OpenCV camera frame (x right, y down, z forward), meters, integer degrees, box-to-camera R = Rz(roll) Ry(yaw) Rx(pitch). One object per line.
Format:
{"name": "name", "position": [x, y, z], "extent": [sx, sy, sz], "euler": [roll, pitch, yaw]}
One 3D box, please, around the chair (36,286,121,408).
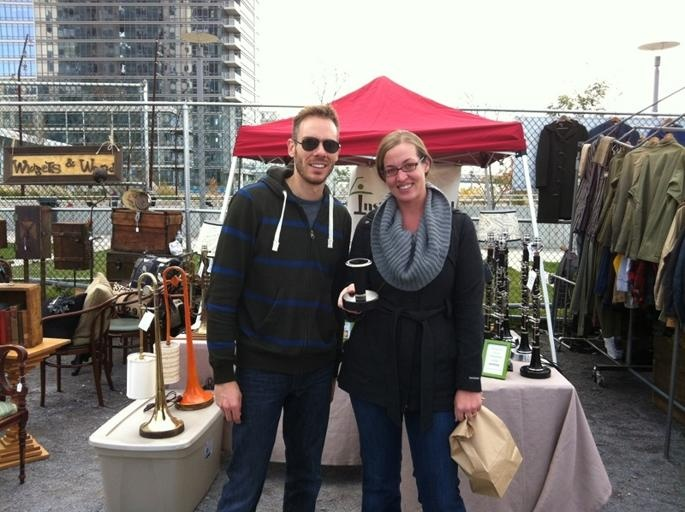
{"name": "chair", "position": [-2.747, 0.947, 5.665], "extent": [0.794, 1.011, 0.808], "euler": [3, 3, 36]}

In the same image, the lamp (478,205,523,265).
{"name": "lamp", "position": [1.676, -0.141, 5.902], "extent": [0.501, 0.601, 0.493], "euler": [11, -8, -29]}

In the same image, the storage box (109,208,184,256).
{"name": "storage box", "position": [-2.690, -0.364, 7.605], "extent": [0.819, 0.544, 0.496], "euler": [4, 8, 9]}

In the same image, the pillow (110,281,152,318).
{"name": "pillow", "position": [-2.308, 0.505, 6.062], "extent": [0.620, 0.284, 0.819], "euler": [6, 2, -18]}

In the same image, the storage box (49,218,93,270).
{"name": "storage box", "position": [-3.565, -0.124, 7.327], "extent": [0.651, 0.576, 0.670], "euler": [3, 3, 31]}

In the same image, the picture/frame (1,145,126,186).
{"name": "picture/frame", "position": [-3.927, -1.277, 7.691], "extent": [1.770, 0.540, 0.254], "euler": [1, 5, 13]}

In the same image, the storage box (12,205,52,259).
{"name": "storage box", "position": [-3.777, -0.287, 6.739], "extent": [0.372, 0.631, 0.360], "euler": [0, 2, -18]}

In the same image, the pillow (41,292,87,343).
{"name": "pillow", "position": [-2.753, 0.601, 5.450], "extent": [0.491, 0.442, 0.206], "euler": [-4, 10, -1]}

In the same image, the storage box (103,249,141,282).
{"name": "storage box", "position": [-2.969, 0.114, 7.402], "extent": [0.552, 0.411, 0.361], "euler": [0, -2, 9]}
